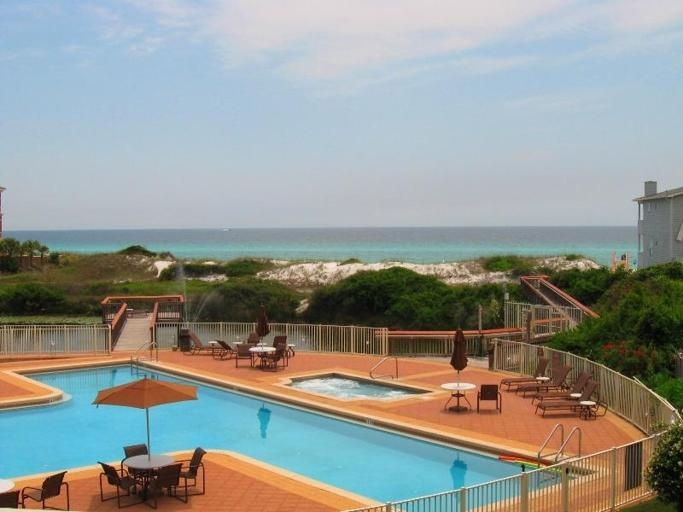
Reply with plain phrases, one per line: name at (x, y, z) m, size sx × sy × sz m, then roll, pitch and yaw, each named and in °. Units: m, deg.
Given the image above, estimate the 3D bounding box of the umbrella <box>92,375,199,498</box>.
umbrella at (-5.275, 4.747, 20.807) m, size 2.800 × 2.388 × 2.586 m, roll -1°, pitch -2°, yaw 0°

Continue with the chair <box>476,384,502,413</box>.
chair at (5.076, 4.815, 25.347) m, size 1.022 × 1.214 × 0.934 m, roll 0°, pitch 3°, yaw 8°
